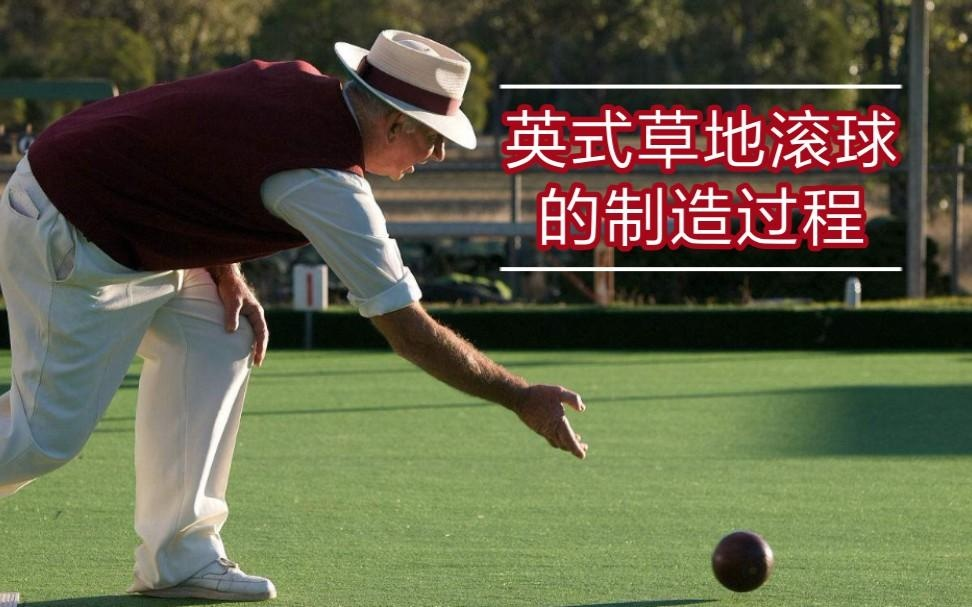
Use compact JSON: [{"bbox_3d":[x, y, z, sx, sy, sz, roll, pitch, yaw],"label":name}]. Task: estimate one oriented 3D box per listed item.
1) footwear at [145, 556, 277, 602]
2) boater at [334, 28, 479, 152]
[{"bbox_3d":[-3.037,3.091,22.302,1.611,0.539,0.517,0,-6,-2],"label":"footwear"},{"bbox_3d":[-0.791,-2.473,21.977,1.479,0.592,1.290,35,7,16],"label":"boater"}]
